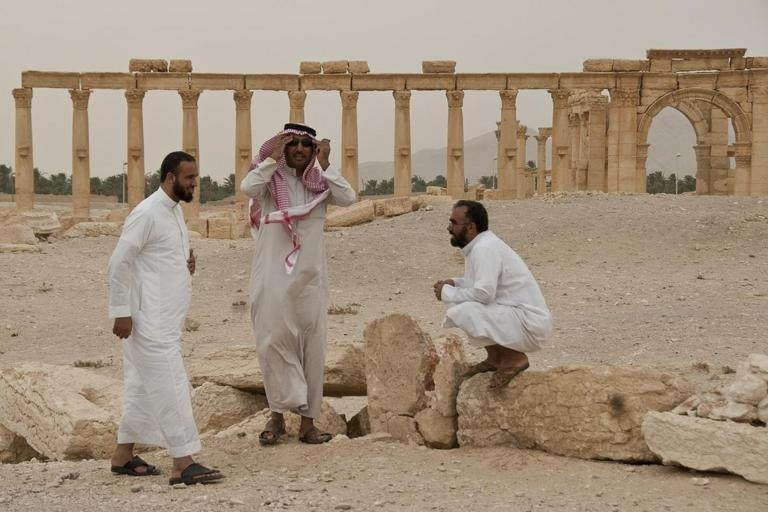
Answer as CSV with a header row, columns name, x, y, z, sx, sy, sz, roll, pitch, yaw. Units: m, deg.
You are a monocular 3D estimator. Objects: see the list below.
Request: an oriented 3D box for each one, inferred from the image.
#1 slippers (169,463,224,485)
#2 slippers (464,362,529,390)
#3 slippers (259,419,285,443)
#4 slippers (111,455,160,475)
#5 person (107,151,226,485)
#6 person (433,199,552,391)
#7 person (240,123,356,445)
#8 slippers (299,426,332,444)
name,x,y,z,sx,sy,sz,roll,pitch,yaw
slippers,-2.155,2.477,13.471,0.541,0.167,0.263,-2,-3,4
slippers,1.373,1.443,14.314,0.491,0.111,0.465,-9,3,-33
slippers,-1.372,2.149,14.429,0.205,0.286,0.352,2,4,22
slippers,-2.877,2.424,13.656,0.506,0.168,0.216,1,1,2
person,-2.648,0.692,13.602,1.037,3.808,0.855,-1,4,-11
person,1.347,0.462,14.369,1.323,2.274,0.448,0,4,1
person,-1.149,0.317,14.521,1.181,3.930,0.753,0,4,-6
slippers,-0.826,2.193,14.401,0.332,0.114,0.187,-2,1,30
